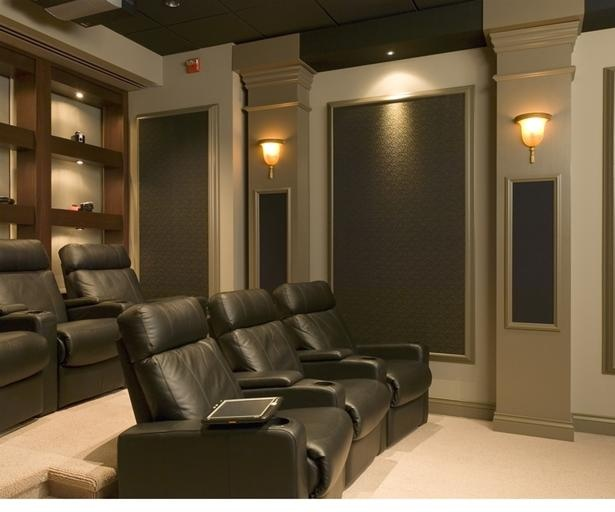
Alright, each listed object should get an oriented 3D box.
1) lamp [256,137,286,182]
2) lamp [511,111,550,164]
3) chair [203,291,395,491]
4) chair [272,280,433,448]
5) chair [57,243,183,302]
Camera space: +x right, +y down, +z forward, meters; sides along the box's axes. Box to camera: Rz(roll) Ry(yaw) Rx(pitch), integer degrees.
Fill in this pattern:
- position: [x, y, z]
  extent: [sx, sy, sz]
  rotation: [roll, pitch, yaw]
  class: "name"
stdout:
- position: [-0.336, -0.896, 4.582]
  extent: [0.253, 0.346, 0.271]
  rotation: [1, 4, 23]
  class: "lamp"
- position: [1.658, -0.842, 3.683]
  extent: [0.202, 0.395, 0.214]
  rotation: [-1, -1, 27]
  class: "lamp"
- position: [0.037, 0.614, 3.057]
  extent: [1.022, 1.110, 0.924]
  rotation: [-1, -1, 28]
  class: "chair"
- position: [0.330, 0.693, 3.833]
  extent: [1.108, 1.273, 1.064]
  rotation: [-4, -4, 28]
  class: "chair"
- position: [-1.722, 0.137, 4.283]
  extent: [0.611, 0.624, 0.573]
  rotation: [-9, -7, 34]
  class: "chair"
